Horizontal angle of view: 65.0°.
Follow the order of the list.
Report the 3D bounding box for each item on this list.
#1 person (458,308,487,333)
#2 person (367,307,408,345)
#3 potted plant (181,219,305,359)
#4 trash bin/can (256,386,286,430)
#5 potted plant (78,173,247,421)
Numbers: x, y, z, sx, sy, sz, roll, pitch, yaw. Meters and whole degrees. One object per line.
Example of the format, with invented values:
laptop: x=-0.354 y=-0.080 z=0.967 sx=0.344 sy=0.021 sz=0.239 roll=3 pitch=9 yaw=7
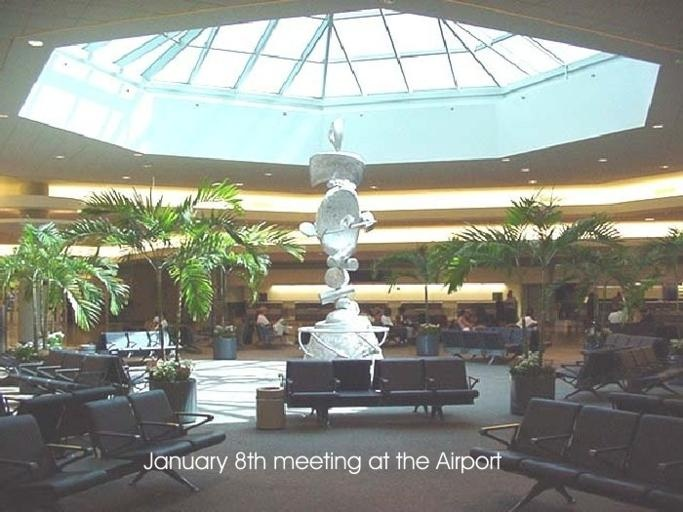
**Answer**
person: x=4.362 y=2.197 z=18.290 sx=1.452 sy=0.904 sz=0.669 roll=1 pitch=1 yaw=-40
person: x=1.988 y=2.872 z=21.999 sx=1.565 sy=0.883 sz=1.396 roll=1 pitch=-7 yaw=-2
potted plant: x=-2.039 y=0.451 z=9.575 sx=2.131 sy=1.641 sz=1.983 roll=-1 pitch=9 yaw=11
trash bin/can: x=-0.958 y=2.344 z=8.302 sx=0.593 sy=0.571 sz=0.548 roll=0 pitch=-7 yaw=-4
potted plant: x=-3.025 y=0.507 z=9.066 sx=2.328 sy=2.756 sz=2.565 roll=5 pitch=-3 yaw=7
